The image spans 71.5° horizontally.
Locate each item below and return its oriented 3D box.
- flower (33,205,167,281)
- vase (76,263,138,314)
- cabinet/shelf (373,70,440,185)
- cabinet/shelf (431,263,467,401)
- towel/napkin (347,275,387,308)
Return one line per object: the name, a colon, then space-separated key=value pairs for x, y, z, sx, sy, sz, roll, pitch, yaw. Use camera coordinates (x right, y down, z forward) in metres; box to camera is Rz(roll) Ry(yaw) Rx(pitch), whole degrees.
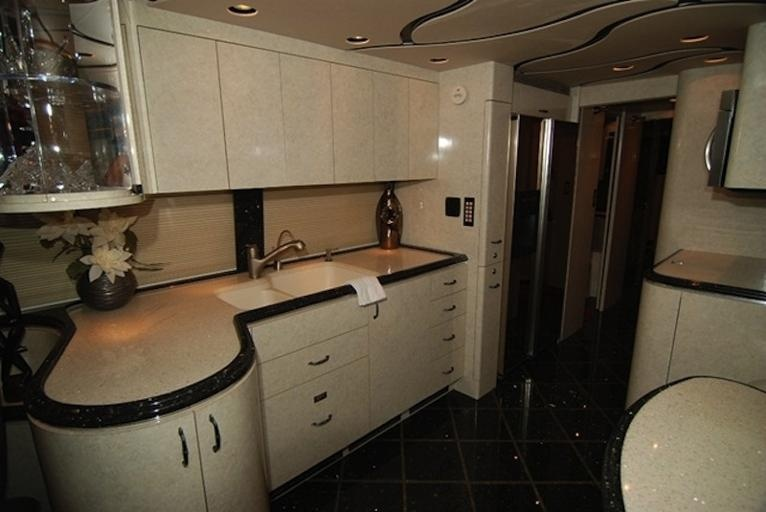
flower: x=-1.634 y=-0.067 z=2.989 sx=0.497 sy=0.402 sz=0.277 roll=-5 pitch=18 yaw=-17
vase: x=-1.559 y=0.207 z=3.053 sx=0.293 sy=0.252 sz=0.258 roll=-14 pitch=38 yaw=-15
cabinet/shelf: x=0.154 y=-0.941 z=3.766 sx=0.690 sy=0.678 sz=0.224 roll=-15 pitch=24 yaw=-39
cabinet/shelf: x=0.497 y=0.565 z=3.906 sx=0.122 sy=0.981 sz=0.413 roll=14 pitch=22 yaw=35
towel/napkin: x=-0.085 y=0.219 z=3.329 sx=0.192 sy=0.190 sz=0.069 roll=-22 pitch=-2 yaw=-29
